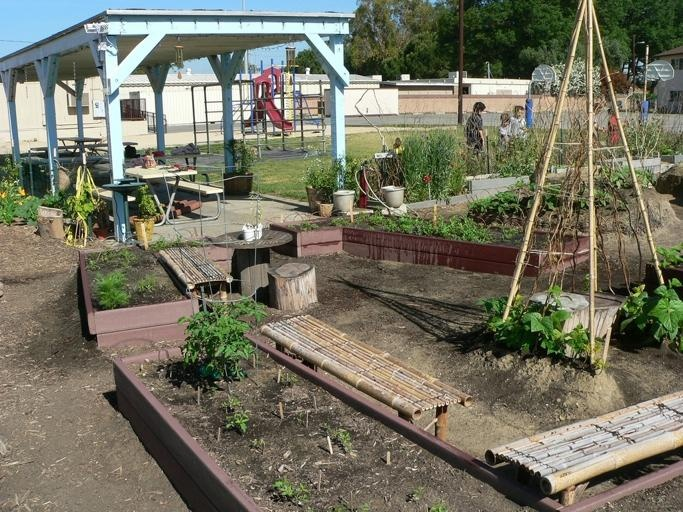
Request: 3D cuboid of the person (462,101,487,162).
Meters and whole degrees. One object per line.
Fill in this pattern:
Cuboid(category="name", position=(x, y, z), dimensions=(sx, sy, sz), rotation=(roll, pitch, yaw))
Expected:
Cuboid(category="person", position=(3.058, -2.882, 12.737), dimensions=(0.488, 1.210, 2.440), rotation=(2, 13, 14))

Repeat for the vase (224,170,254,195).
Cuboid(category="vase", position=(-2.393, -1.725, 13.186), dimensions=(0.517, 0.477, 0.661), rotation=(-3, 6, -24))

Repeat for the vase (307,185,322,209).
Cuboid(category="vase", position=(-0.546, -1.145, 10.777), dimensions=(0.364, 0.391, 0.401), rotation=(5, 17, 16))

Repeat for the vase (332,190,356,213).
Cuboid(category="vase", position=(0.067, -0.947, 9.703), dimensions=(0.404, 0.361, 0.377), rotation=(8, 13, 43))

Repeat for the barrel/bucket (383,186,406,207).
Cuboid(category="barrel/bucket", position=(0.918, -1.051, 9.752), dimensions=(0.350, 0.294, 0.332), rotation=(-3, 13, 1))

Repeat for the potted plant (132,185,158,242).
Cuboid(category="potted plant", position=(-3.102, -0.678, 8.907), dimensions=(0.351, 0.859, 0.351), rotation=(2, 1, -13))

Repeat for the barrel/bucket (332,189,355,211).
Cuboid(category="barrel/bucket", position=(0.049, -0.953, 9.692), dimensions=(0.360, 0.348, 0.396), rotation=(-1, 4, 0))

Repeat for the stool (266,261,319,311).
Cuboid(category="stool", position=(-0.577, 0.363, 6.751), dimensions=(0.527, 0.410, 0.539), rotation=(1, 18, 22))

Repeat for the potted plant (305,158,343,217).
Cuboid(category="potted plant", position=(-0.323, -1.400, 10.829), dimensions=(0.636, 0.947, 0.860), rotation=(6, 9, 19))

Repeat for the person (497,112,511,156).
Cuboid(category="person", position=(3.699, -2.728, 12.576), dimensions=(0.250, 0.800, 0.787), rotation=(2, 13, 17))

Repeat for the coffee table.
Cuboid(category="coffee table", position=(-1.138, 0.081, 7.003), dimensions=(0.957, 0.952, 0.954), rotation=(-7, 13, -41))

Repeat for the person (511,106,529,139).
Cuboid(category="person", position=(4.059, -3.071, 12.743), dimensions=(0.362, 0.681, 1.267), rotation=(3, 13, 18))

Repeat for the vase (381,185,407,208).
Cuboid(category="vase", position=(0.930, -1.042, 9.757), dimensions=(0.366, 0.296, 0.350), rotation=(-1, 12, 16))

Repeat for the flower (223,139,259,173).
Cuboid(category="flower", position=(-2.440, -2.394, 13.552), dimensions=(0.653, 0.818, 0.839), rotation=(-4, 13, -14))

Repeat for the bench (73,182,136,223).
Cuboid(category="bench", position=(-4.171, -0.947, 9.798), dimensions=(0.846, 0.822, 3.277), rotation=(-7, 14, -24))

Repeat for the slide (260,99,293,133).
Cuboid(category="slide", position=(-2.345, -5.043, 20.145), dimensions=(1.207, 1.191, 2.882), rotation=(-3, 13, -7))
